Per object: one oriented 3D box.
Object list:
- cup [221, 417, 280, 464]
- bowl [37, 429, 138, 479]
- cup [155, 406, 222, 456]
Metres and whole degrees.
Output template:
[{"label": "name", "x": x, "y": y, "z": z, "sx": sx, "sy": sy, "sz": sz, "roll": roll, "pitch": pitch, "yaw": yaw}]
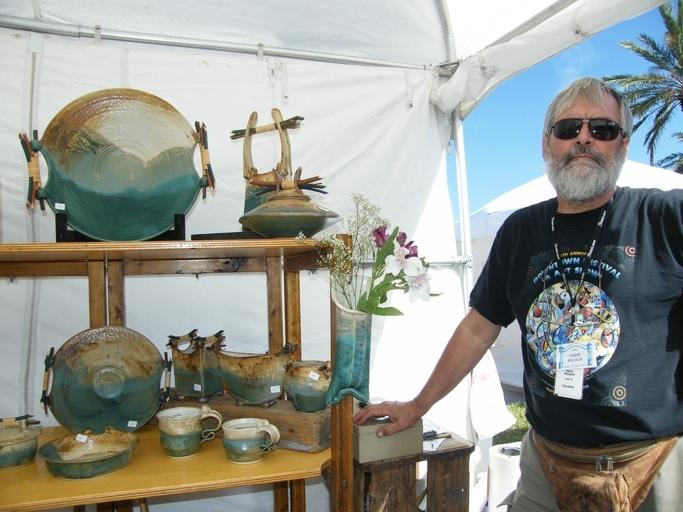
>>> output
[{"label": "cup", "x": -0.354, "y": 0.723, "z": 2.508, "sx": 0.202, "sy": 0.133, "sz": 0.133, "roll": 1, "pitch": -6, "yaw": -4}, {"label": "bowl", "x": -0.980, "y": 0.763, "z": 2.507, "sx": 0.366, "sy": 0.127, "sz": 0.212, "roll": -1, "pitch": 4, "yaw": -15}, {"label": "cup", "x": -0.619, "y": 0.700, "z": 2.644, "sx": 0.258, "sy": 0.178, "sz": 0.205, "roll": -1, "pitch": 4, "yaw": -20}]
